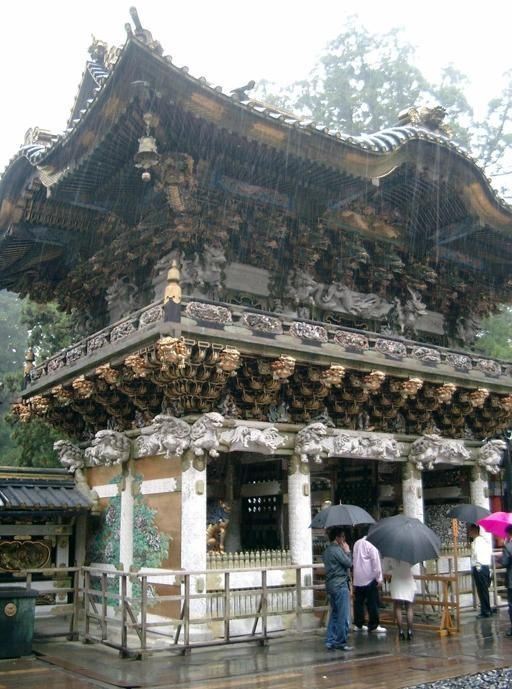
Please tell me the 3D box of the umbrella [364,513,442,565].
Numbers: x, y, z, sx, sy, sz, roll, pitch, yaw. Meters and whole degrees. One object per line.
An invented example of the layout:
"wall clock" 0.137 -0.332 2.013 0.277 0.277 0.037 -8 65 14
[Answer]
"umbrella" 2.120 2.825 11.431 0.790 0.715 0.926 13 -23 -42

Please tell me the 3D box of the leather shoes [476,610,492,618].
"leather shoes" 4.191 4.924 14.370 0.317 0.127 0.104 2 -7 -6

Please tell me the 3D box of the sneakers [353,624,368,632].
"sneakers" 1.715 4.627 12.834 0.228 0.089 0.078 4 -11 -17

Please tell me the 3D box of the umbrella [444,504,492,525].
"umbrella" 3.702 2.968 13.847 0.505 0.206 0.493 2 -9 -38

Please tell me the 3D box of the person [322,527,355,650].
"person" 1.168 3.458 11.196 0.445 1.673 0.663 -4 -18 3

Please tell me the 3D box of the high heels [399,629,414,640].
"high heels" 2.265 4.388 11.861 0.101 0.107 0.266 0 -31 0
